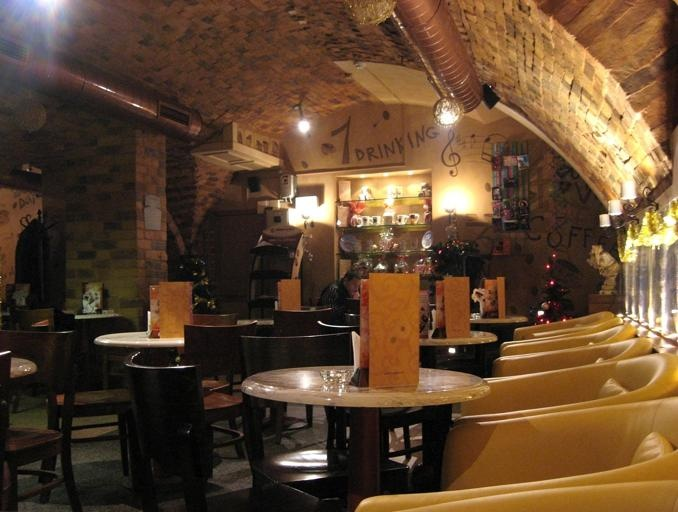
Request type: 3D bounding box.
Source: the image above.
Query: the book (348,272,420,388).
[{"bbox_3d":[0.221,0.323,2.616,0.266,0.488,0.114,-1,-3,3],"label":"book"}]

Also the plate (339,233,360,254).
[{"bbox_3d":[0.225,-0.243,10.679,0.346,0.362,0.222,-4,-4,43],"label":"plate"}]

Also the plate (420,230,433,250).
[{"bbox_3d":[1.496,-0.267,10.160,0.130,0.325,0.322,0,-3,-16],"label":"plate"}]

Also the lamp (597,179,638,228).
[{"bbox_3d":[3.080,-0.588,6.602,0.225,0.359,0.678,7,-19,0],"label":"lamp"}]

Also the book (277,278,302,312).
[{"bbox_3d":[-0.451,0.387,5.887,0.310,0.366,0.299,0,-2,-2],"label":"book"}]

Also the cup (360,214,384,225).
[{"bbox_3d":[0.597,-0.633,10.491,0.300,0.102,0.186,-2,-4,28],"label":"cup"}]

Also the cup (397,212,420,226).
[{"bbox_3d":[1.215,-0.640,10.336,0.336,0.194,0.201,-1,-3,18],"label":"cup"}]
